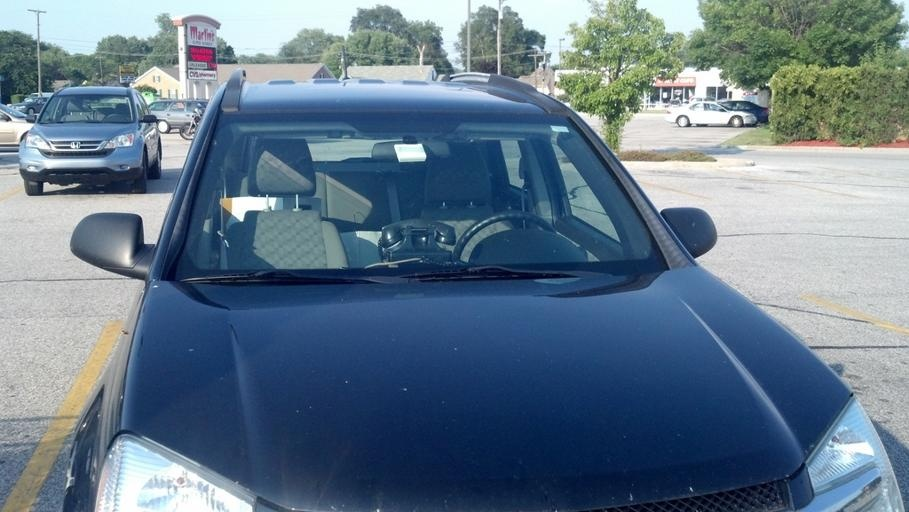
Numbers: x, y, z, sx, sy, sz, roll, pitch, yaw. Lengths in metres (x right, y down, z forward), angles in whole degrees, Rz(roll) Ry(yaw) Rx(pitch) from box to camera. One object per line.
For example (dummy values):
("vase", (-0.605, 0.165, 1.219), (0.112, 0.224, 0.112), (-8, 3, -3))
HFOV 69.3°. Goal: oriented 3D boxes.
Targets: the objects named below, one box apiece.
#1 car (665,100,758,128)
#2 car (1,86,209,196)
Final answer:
("car", (18.914, -10.404, 48.945), (5.181, 1.492, 2.203), (2, 10, 18))
("car", (-8.319, -2.707, 15.982), (2.205, 1.730, 3.690), (-1, 1, -6))
